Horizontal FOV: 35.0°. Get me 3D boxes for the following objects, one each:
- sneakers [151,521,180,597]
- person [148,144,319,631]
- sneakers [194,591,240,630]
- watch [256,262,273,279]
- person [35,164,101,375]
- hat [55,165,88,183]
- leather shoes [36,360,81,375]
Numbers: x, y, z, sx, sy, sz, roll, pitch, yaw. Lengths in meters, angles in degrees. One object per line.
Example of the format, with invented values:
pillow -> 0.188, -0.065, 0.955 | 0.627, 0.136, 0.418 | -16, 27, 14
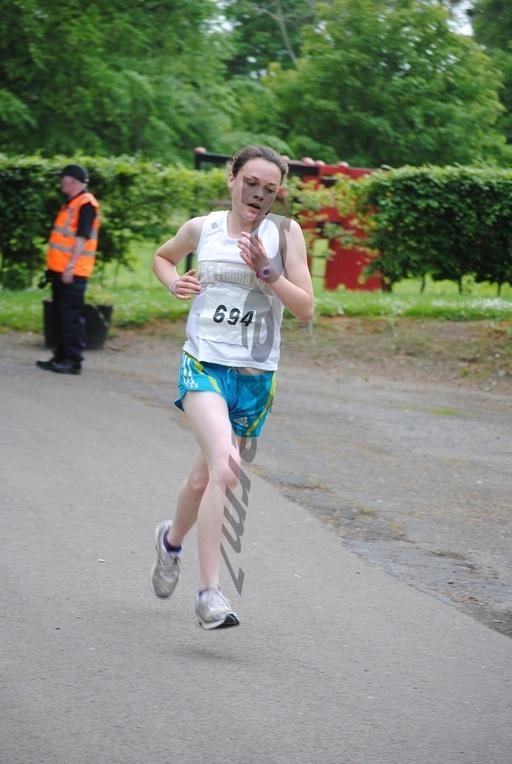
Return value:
sneakers -> -0.340, 0.676, 3.137 | 0.109, 0.274, 0.128 | -1, 14, -18
person -> -0.082, 0.022, 2.967 | 0.471, 1.752, 0.795 | 3, 9, -26
sneakers -> -0.133, 0.758, 2.728 | 0.085, 0.080, 0.188 | 2, -10, -23
watch -> 0.028, -0.370, 2.728 | 0.046, 0.029, 0.048 | -19, 53, -9
person -> -1.924, -1.168, 8.403 | 0.488, 2.087, 0.889 | 5, 8, -14
hat -> -1.844, -2.072, 8.204 | 0.277, 0.141, 0.183 | 23, 23, 6
leather shoes -> -2.005, -0.161, 8.223 | 0.461, 0.126, 0.260 | 5, 7, -4
